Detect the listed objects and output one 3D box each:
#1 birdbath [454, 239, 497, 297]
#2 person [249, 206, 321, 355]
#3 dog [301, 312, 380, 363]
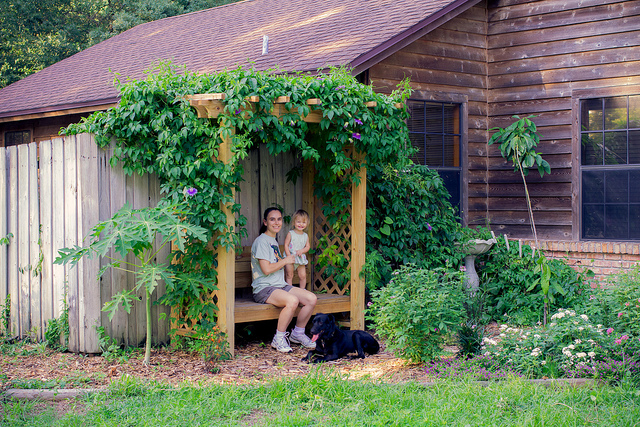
[{"bbox_3d":[2.404,0.886,9.179,0.739,0.978,0.827,3,-4,-1],"label":"birdbath"},{"bbox_3d":[-0.442,0.861,7.673,0.919,1.856,0.831,-1,5,-13],"label":"person"},{"bbox_3d":[0.265,1.583,7.228,1.036,0.592,0.425,5,-11,-30],"label":"dog"}]
